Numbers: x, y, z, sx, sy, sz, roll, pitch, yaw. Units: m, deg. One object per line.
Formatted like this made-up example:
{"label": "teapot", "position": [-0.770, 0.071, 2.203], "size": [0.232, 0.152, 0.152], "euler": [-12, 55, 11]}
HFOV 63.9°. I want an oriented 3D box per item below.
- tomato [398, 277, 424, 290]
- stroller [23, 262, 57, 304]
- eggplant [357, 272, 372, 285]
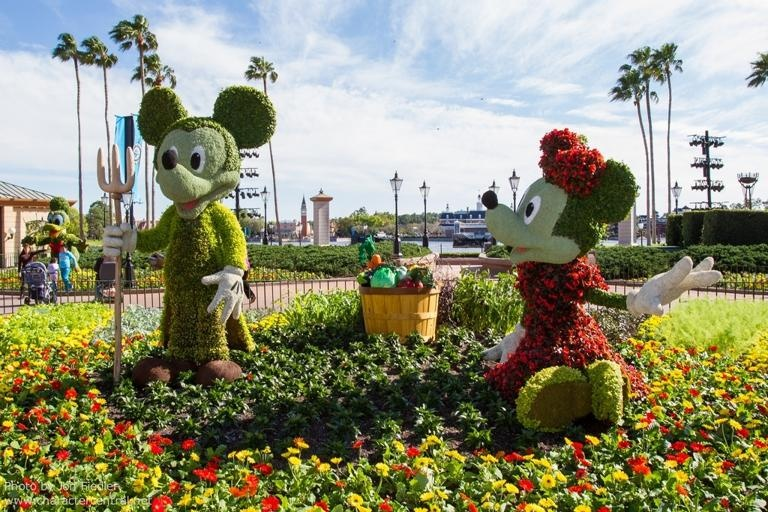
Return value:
{"label": "tomato", "position": [0.346, 0.351, 7.789], "size": [0.301, 0.139, 0.126], "euler": [1, -18, 9]}
{"label": "stroller", "position": [-7.326, 0.586, 13.159], "size": [0.587, 0.941, 1.159], "euler": [-2, 4, -31]}
{"label": "eggplant", "position": [-0.249, 0.290, 7.947], "size": [0.138, 0.130, 0.167], "euler": [-2, 4, -2]}
